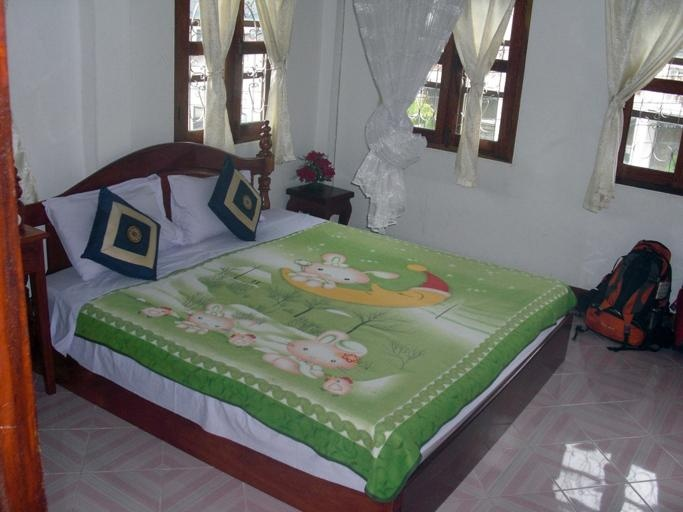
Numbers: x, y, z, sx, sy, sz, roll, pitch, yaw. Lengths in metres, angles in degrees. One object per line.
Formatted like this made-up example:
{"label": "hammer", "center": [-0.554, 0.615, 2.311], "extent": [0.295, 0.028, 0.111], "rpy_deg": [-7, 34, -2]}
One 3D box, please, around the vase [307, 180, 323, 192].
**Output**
{"label": "vase", "center": [-0.270, -0.745, 5.337], "extent": [0.130, 0.076, 0.132], "rpy_deg": [-10, 25, -25]}

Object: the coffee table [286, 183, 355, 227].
{"label": "coffee table", "center": [-0.243, -0.645, 5.376], "extent": [0.500, 0.620, 0.519], "rpy_deg": [23, 33, 36]}

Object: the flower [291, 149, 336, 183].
{"label": "flower", "center": [-0.281, -0.958, 5.341], "extent": [0.361, 0.343, 0.372], "rpy_deg": [0, 18, -8]}
